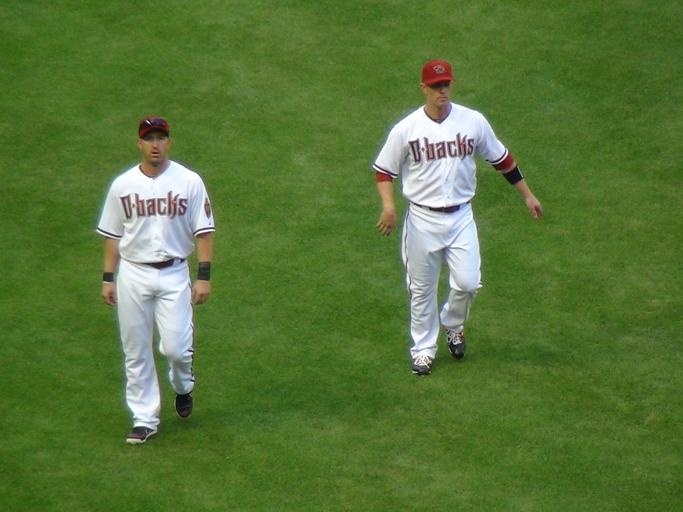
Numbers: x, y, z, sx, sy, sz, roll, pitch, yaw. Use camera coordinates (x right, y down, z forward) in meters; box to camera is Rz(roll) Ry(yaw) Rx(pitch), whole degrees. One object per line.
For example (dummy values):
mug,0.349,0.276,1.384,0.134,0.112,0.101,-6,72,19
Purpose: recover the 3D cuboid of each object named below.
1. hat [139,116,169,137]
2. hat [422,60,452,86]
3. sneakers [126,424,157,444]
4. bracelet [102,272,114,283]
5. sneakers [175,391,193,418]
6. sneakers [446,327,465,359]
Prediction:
hat,-1.651,-1.159,9.968,0.250,0.175,0.190,0,46,-7
hat,0.906,-1.722,10.507,0.276,0.225,0.284,1,46,-6
sneakers,-1.808,1.604,10.171,0.136,0.098,0.245,1,0,15
bracelet,-2.103,0.183,10.195,0.098,0.071,0.095,2,8,10
sneakers,-1.442,1.346,10.454,0.106,0.275,0.111,-5,-4,-9
sneakers,1.134,0.853,11.160,0.147,0.306,0.132,-6,2,4
